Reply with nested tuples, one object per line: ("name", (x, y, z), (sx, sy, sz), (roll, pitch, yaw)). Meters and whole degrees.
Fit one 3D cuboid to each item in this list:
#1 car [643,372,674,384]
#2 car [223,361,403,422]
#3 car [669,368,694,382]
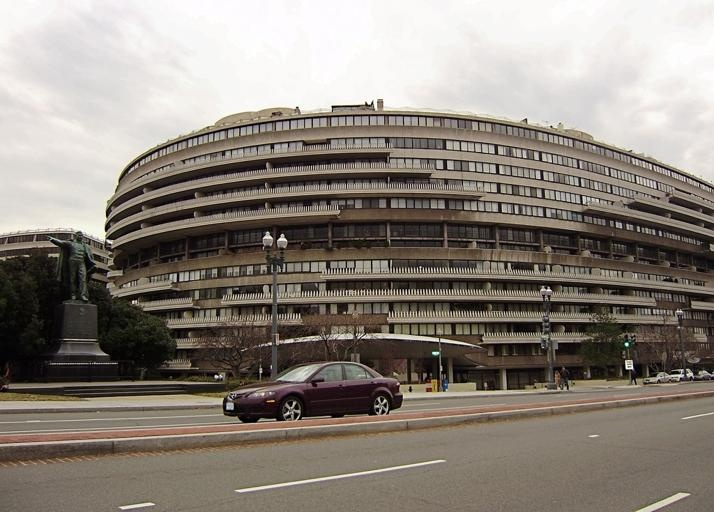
("car", (29.676, 12.109, 66.765), (2.104, 1.177, 6.405), (-10, -15, 29))
("car", (-1.340, 4.657, 23.341), (5.919, 1.945, 1.118), (4, -14, -26))
("car", (33.542, 12.385, 69.997), (1.549, 1.475, 8.822), (-9, -15, 29))
